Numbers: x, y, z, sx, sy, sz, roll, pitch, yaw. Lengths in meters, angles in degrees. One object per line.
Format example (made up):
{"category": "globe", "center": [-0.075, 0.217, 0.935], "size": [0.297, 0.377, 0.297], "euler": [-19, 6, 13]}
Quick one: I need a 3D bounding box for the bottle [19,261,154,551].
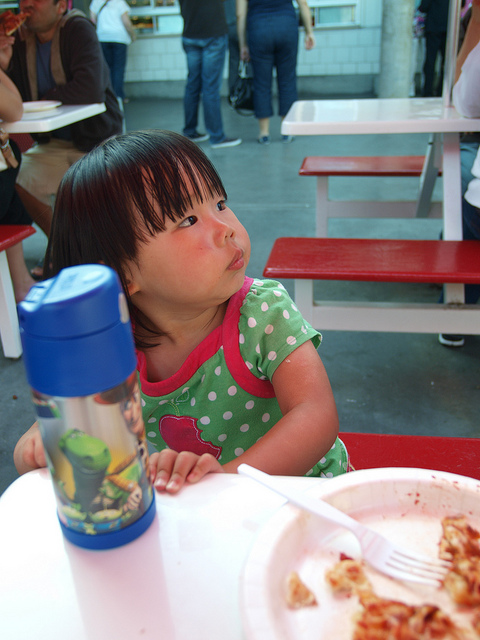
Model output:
{"category": "bottle", "center": [-0.111, 0.081, 0.389], "size": [0.078, 0.235, 0.070], "euler": [-8, 22, -12]}

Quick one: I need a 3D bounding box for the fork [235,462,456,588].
{"category": "fork", "center": [0.076, 0.157, 0.418], "size": [0.175, 0.040, 0.040], "euler": [10, 25, 30]}
